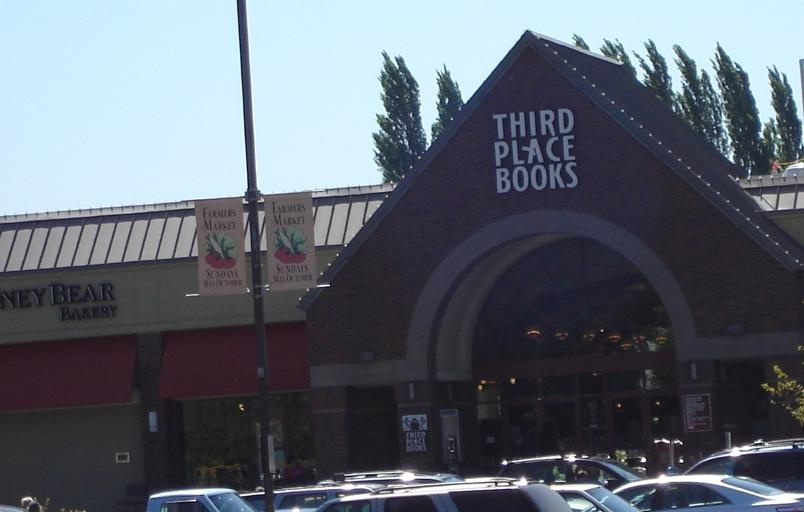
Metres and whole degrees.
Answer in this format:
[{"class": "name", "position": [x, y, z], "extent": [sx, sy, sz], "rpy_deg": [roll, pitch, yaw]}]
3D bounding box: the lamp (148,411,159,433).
[{"class": "lamp", "position": [-10.301, 6.951, 49.018], "extent": [0.482, 0.851, 0.241], "rpy_deg": [-10, -15, 18]}]

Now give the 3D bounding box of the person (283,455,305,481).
[{"class": "person", "position": [-4.480, 8.874, 48.894], "extent": [0.624, 0.995, 0.944], "rpy_deg": [2, -18, -5]}]

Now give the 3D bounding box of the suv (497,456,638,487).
[{"class": "suv", "position": [5.681, 7.422, 40.655], "extent": [3.514, 1.482, 1.737], "rpy_deg": [-6, -6, 19]}]
